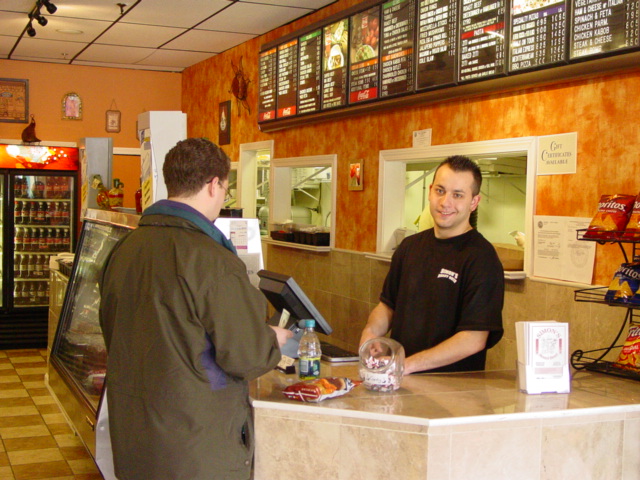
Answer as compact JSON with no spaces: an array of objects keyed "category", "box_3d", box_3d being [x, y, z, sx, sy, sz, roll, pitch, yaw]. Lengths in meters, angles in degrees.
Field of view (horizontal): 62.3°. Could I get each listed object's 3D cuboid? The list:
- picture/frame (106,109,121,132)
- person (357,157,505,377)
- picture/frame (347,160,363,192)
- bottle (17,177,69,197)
[{"category":"picture/frame","box_3d":[-3.246,-1.880,8.412,0.236,0.335,0.326,0,6,-15]},{"category":"person","box_3d":[0.561,0.137,2.723,0.694,1.161,0.578,2,3,11]},{"category":"picture/frame","box_3d":[0.328,-0.601,4.975,0.037,0.359,0.300,3,-4,-26]},{"category":"bottle","box_3d":[-3.835,-0.749,7.426,0.535,0.302,0.370,-1,-5,-14]}]
